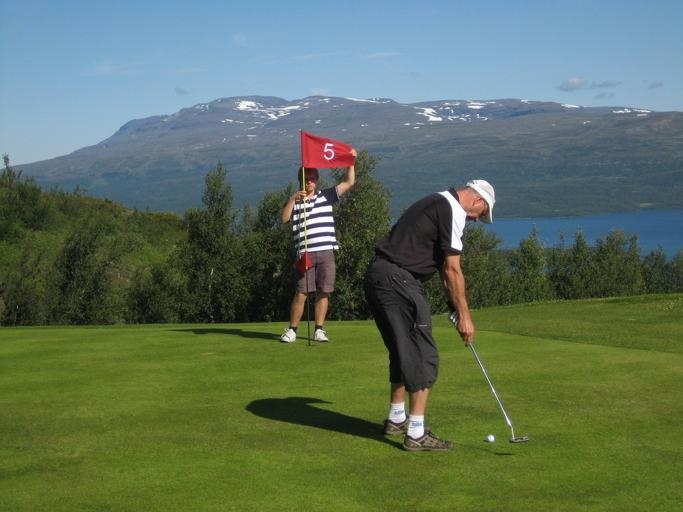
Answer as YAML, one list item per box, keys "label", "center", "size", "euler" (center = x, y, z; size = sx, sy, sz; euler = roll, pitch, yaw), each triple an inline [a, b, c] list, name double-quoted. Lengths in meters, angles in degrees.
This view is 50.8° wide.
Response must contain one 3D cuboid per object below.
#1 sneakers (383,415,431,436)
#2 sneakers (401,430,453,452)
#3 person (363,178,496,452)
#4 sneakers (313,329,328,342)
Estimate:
- label: "sneakers"
  center: [0.691, 1.678, 7.213]
  size: [0.525, 0.238, 0.190]
  euler: [1, -3, -23]
- label: "sneakers"
  center: [0.797, 1.772, 6.844]
  size: [0.463, 0.214, 0.171]
  euler: [0, -2, -5]
- label: "person"
  center: [0.813, 0.529, 7.093]
  size: [1.189, 2.570, 0.788]
  euler: [-1, 2, 1]
- label: "sneakers"
  center: [-0.340, 1.283, 11.703]
  size: [0.249, 0.194, 0.382]
  euler: [-1, 2, -5]
